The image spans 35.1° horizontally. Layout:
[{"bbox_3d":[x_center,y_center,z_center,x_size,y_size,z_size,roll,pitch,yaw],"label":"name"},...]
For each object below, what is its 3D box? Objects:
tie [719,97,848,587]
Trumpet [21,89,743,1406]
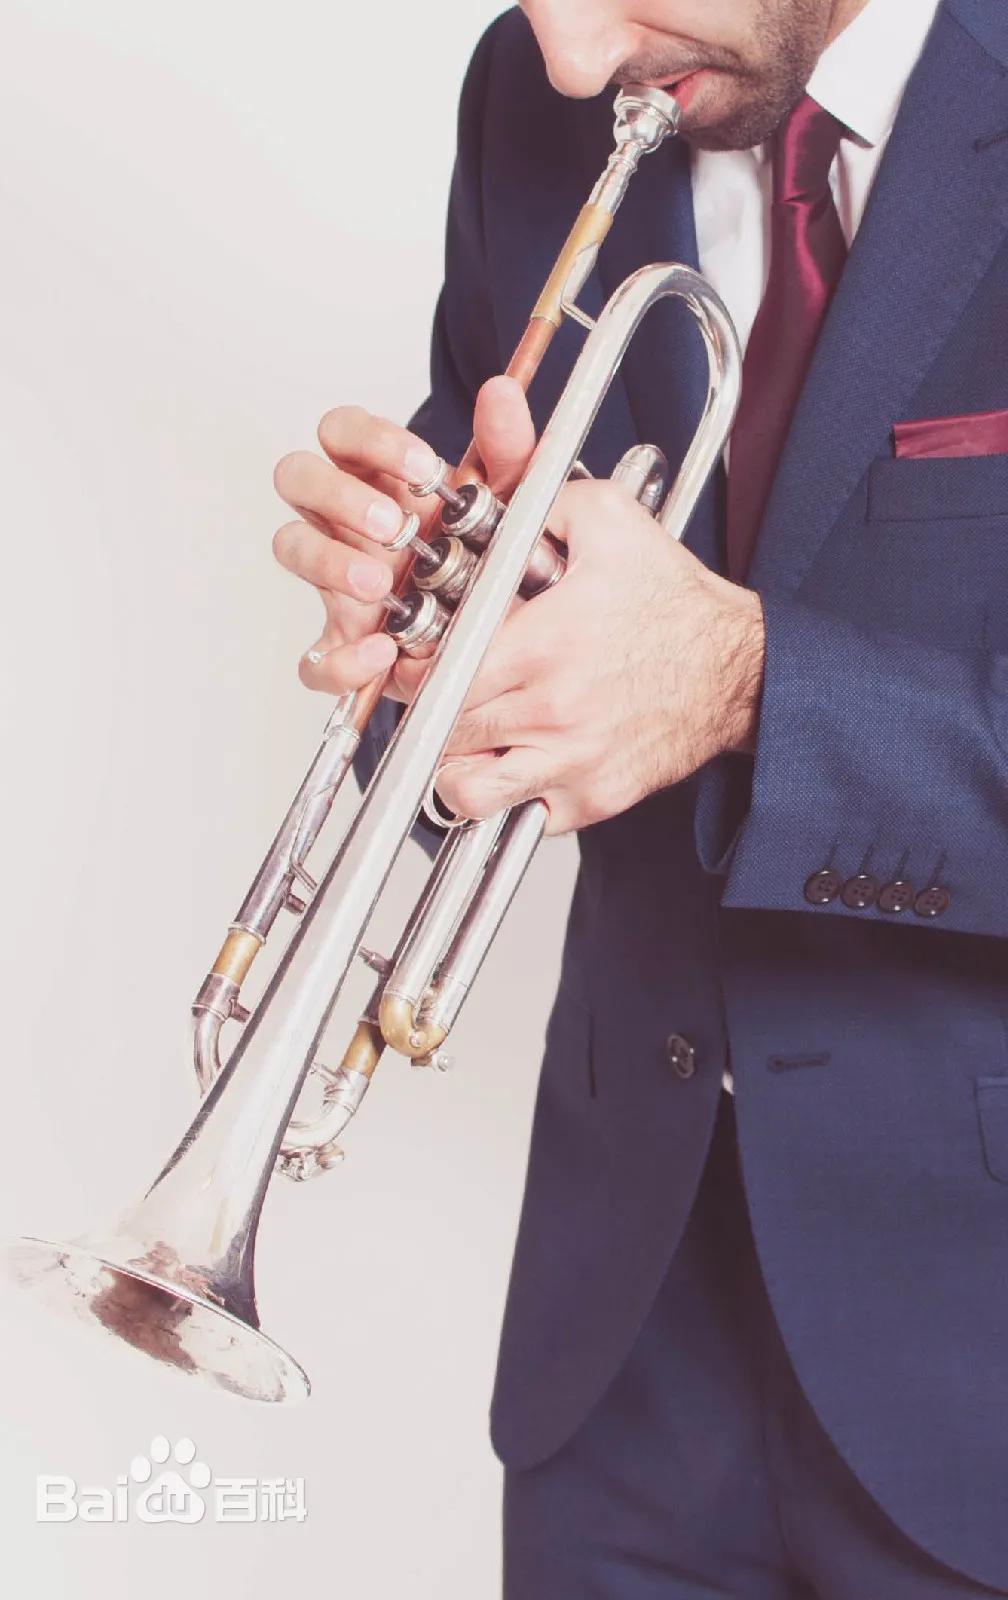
[{"bbox_3d":[0.217,-0.361,1.269,0.091,0.387,0.095,19,-29,-14],"label":"tie"},{"bbox_3d":[-0.079,-0.114,1.298,0.461,1.041,0.317,34,-15,-25],"label":"Trumpet"}]
